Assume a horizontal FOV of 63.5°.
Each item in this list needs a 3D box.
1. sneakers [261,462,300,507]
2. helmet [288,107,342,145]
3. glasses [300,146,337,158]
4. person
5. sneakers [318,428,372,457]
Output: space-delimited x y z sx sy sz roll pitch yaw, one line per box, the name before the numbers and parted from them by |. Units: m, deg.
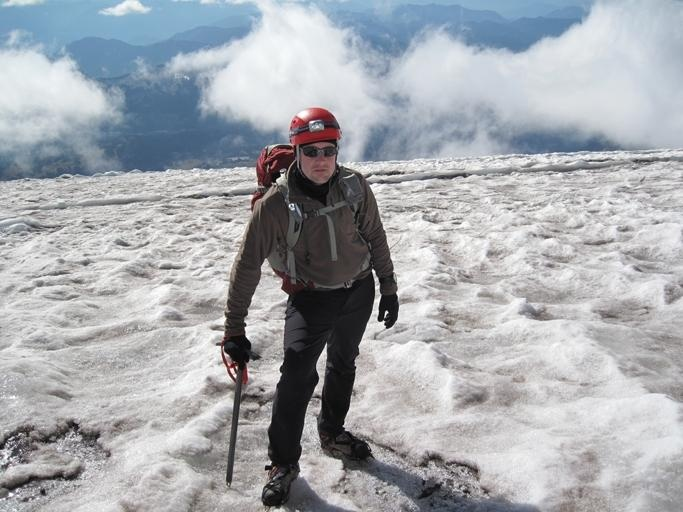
sneakers | -0.530 1.933 4.641 0.180 0.195 0.427 0 5 5
helmet | -0.229 -1.058 4.495 0.315 0.313 0.385 -18 25 -38
glasses | -0.183 -0.844 4.473 0.277 0.092 0.055 -5 19 -8
person | -0.213 0.404 4.669 1.523 3.139 0.784 -16 23 -34
sneakers | 0.029 1.705 5.055 0.441 0.188 0.227 5 16 19
